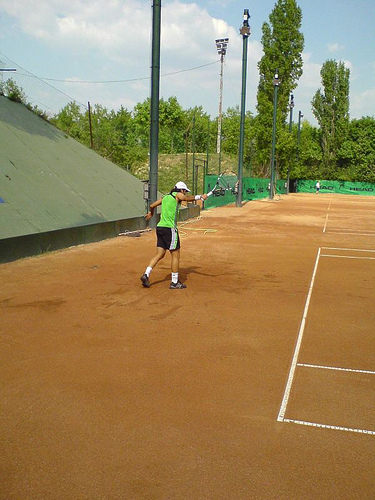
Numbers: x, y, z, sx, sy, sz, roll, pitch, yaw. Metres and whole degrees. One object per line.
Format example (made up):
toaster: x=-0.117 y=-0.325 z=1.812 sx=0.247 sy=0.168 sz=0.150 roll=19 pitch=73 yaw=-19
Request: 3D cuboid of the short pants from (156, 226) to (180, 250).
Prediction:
short pants: x=-0.367 y=-0.214 z=7.300 sx=0.480 sy=0.463 sz=0.291 roll=8 pitch=16 yaw=42
